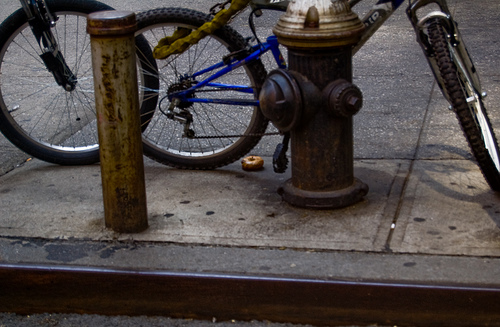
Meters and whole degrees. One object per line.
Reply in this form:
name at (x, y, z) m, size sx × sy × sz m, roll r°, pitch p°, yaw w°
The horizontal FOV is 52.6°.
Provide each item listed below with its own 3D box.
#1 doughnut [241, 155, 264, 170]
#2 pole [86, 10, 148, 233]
doughnut at (0.030, -0.021, 4.787) m, size 0.138 × 0.095 × 0.138 m, roll 2°, pitch 23°, yaw 9°
pole at (-0.953, -0.290, 3.740) m, size 0.362 × 1.583 × 0.451 m, roll -1°, pitch 22°, yaw 5°
